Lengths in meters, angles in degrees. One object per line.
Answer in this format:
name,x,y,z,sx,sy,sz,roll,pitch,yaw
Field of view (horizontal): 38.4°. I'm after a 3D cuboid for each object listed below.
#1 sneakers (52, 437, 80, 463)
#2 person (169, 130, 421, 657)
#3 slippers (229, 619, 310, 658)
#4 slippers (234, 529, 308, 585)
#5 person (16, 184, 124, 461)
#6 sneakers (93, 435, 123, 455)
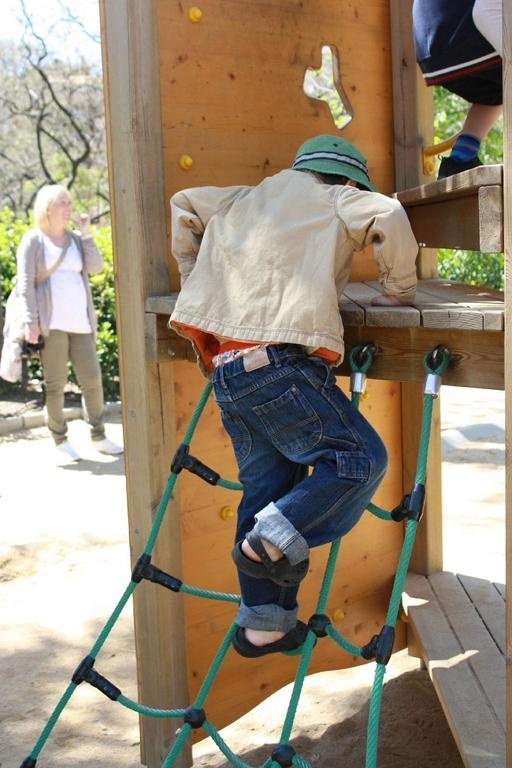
sneakers,-1.644,0.578,6.306,0.143,0.179,0.121,-23,-19,-14
person,0.090,-0.107,1.958,0.517,1.149,0.654,-4,6,-31
slippers,0.038,0.687,1.946,0.187,0.074,0.093,-22,20,4
slippers,0.036,0.400,1.760,0.179,0.122,0.112,7,34,-5
person,-1.524,-0.429,5.815,0.630,2.205,0.901,-2,5,-3
sneakers,-1.285,0.541,6.408,0.260,0.098,0.133,10,29,28
